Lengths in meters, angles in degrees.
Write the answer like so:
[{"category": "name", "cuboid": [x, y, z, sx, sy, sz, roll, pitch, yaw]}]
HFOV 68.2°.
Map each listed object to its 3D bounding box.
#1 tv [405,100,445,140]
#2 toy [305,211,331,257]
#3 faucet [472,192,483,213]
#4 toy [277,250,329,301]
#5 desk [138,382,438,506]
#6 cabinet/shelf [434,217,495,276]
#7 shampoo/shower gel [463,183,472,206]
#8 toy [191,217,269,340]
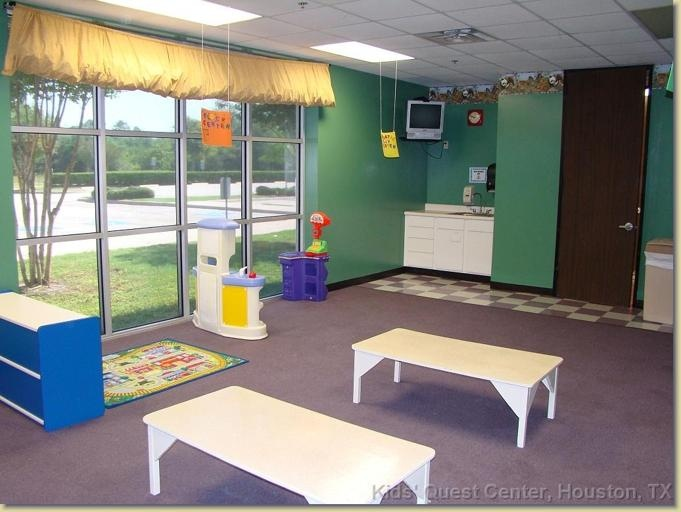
[{"category": "tv", "cuboid": [1.482, -2.497, 9.374, 0.767, 0.686, 0.446, -4, 11, -22]}, {"category": "toy", "cuboid": [-0.358, -0.350, 7.813, 0.340, 0.665, 0.601, 0, 12, -4]}, {"category": "faucet", "cuboid": [2.634, -1.025, 9.627, 0.195, 0.363, 0.187, 5, 13, 19]}, {"category": "toy", "cuboid": [-0.584, 0.299, 7.887, 0.784, 0.676, 0.750, 3, 7, 24]}, {"category": "desk", "cuboid": [-0.365, 1.373, 3.203, 1.718, 0.549, 0.748, 9, 14, 32]}, {"category": "cabinet/shelf", "cuboid": [2.299, -0.199, 9.147, 1.005, 0.875, 0.562, 6, 12, 35]}, {"category": "shampoo/shower gel", "cuboid": [2.439, -1.138, 9.592, 0.185, 0.379, 0.311, 4, 12, 14]}, {"category": "toy", "cuboid": [-1.454, 0.309, 6.361, 1.341, 1.363, 0.744, 11, 18, 30]}]
